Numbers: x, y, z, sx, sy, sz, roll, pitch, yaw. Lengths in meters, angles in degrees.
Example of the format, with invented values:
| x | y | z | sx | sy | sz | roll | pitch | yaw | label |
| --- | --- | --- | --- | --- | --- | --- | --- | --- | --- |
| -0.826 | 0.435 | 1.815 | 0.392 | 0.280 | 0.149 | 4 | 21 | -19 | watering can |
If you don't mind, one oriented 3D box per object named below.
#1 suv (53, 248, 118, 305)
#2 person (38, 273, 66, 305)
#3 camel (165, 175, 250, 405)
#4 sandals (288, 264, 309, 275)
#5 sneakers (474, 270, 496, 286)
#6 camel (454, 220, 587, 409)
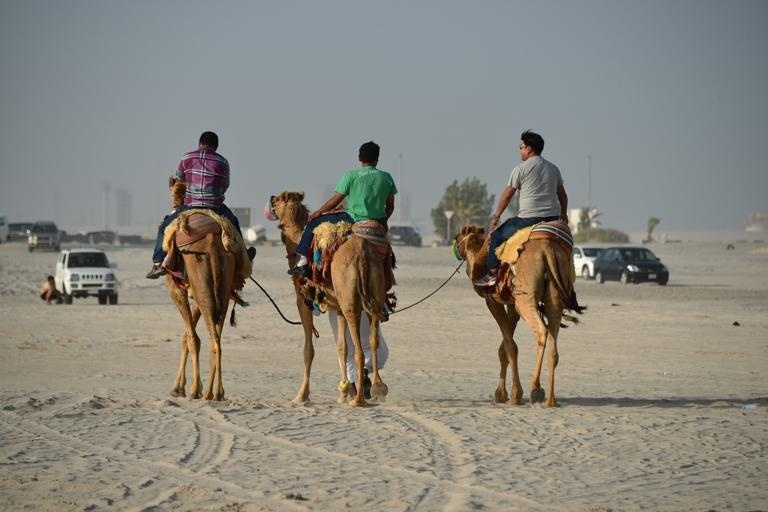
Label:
| x | y | z | sx | sy | sz | roll | pitch | yaw | label |
| --- | --- | --- | --- | --- | --- | --- | --- | --- | --- |
| -8.068 | 0.484 | 33.172 | 1.130 | 1.035 | 1.982 | 1 | -4 | -22 | suv |
| -8.999 | 0.933 | 33.027 | 0.794 | 0.828 | 0.765 | -4 | 4 | -3 | person |
| -3.044 | 0.523 | 20.567 | 1.361 | 3.700 | 1.516 | -1 | -1 | -11 | camel |
| -1.432 | 0.225 | 20.207 | 0.370 | 0.149 | 0.146 | -3 | 1 | 10 | sandals |
| 1.690 | 0.409 | 20.425 | 0.151 | 0.282 | 0.412 | 11 | -6 | -43 | sneakers |
| 2.299 | 0.954 | 20.235 | 0.821 | 2.992 | 1.794 | 0 | -1 | -37 | camel |
